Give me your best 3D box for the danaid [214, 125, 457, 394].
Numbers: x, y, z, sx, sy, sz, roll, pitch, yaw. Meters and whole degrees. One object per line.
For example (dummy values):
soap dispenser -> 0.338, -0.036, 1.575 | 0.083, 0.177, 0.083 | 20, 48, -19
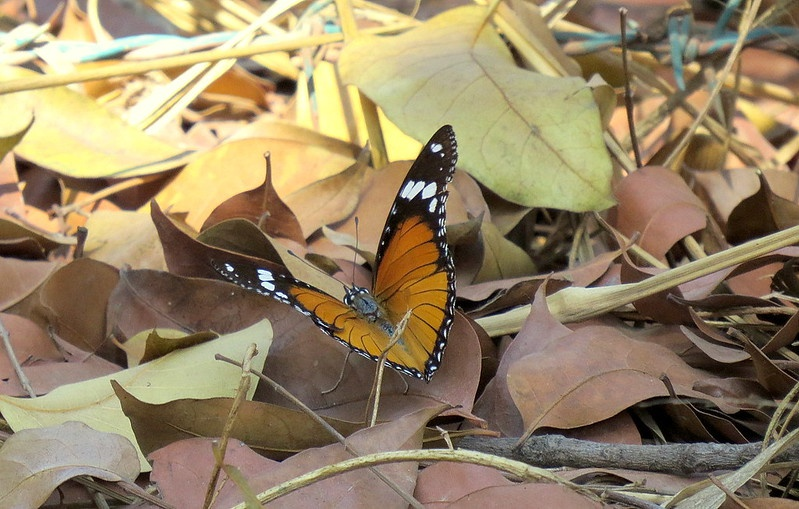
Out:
danaid -> -0.029, 0.050, 1.357 | 0.465, 0.139, 0.320 | -32, 72, -31
